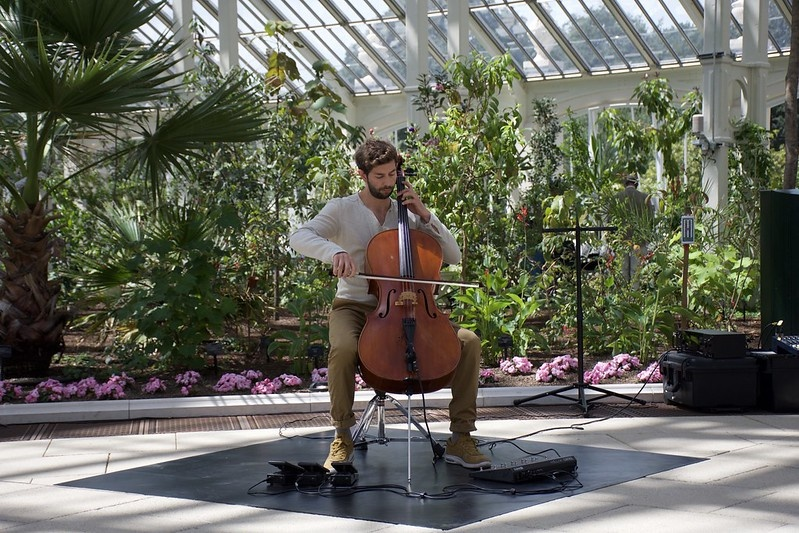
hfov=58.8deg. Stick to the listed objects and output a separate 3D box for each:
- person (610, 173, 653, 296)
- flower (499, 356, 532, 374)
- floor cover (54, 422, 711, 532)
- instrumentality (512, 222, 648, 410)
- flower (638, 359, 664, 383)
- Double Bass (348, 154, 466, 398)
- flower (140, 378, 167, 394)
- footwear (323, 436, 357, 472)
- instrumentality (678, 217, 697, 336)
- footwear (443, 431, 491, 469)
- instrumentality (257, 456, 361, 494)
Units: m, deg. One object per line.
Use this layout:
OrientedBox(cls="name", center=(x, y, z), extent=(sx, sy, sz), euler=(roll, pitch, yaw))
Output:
OrientedBox(cls="person", center=(3.005, -0.501, 9.156), extent=(0.309, 1.340, 0.383), euler=(6, -5, -43))
OrientedBox(cls="flower", center=(1.072, 0.924, 6.538), extent=(0.175, 0.114, 0.187), euler=(2, 1, 5))
OrientedBox(cls="floor cover", center=(-0.150, 1.258, 4.360), extent=(3.416, 0.084, 1.429), euler=(1, 7, 11))
OrientedBox(cls="instrumentality", center=(1.603, 0.389, 5.946), extent=(0.823, 1.525, 1.131), euler=(5, 8, 43))
OrientedBox(cls="flower", center=(2.206, 0.923, 6.254), extent=(0.161, 0.119, 0.211), euler=(0, 2, -3))
OrientedBox(cls="Double Bass", center=(0.068, 0.075, 4.295), extent=(0.607, 1.307, 0.691), euler=(0, 6, 5))
OrientedBox(cls="flower", center=(-2.100, 1.023, 6.122), extent=(0.205, 0.114, 0.229), euler=(-2, 7, -20))
OrientedBox(cls="footwear", center=(-0.344, 1.119, 4.318), extent=(0.108, 0.150, 0.345), euler=(-8, 2, 7))
OrientedBox(cls="instrumentality", center=(2.644, 0.009, 6.543), extent=(0.140, 1.129, 0.112), euler=(-2, 34, 18))
OrientedBox(cls="footwear", center=(0.424, 1.155, 4.465), extent=(0.127, 0.215, 0.367), euler=(10, -7, -41))
OrientedBox(cls="instrumentality", center=(-0.527, 1.214, 4.136), extent=(0.537, 0.141, 0.168), euler=(0, 6, -3))
